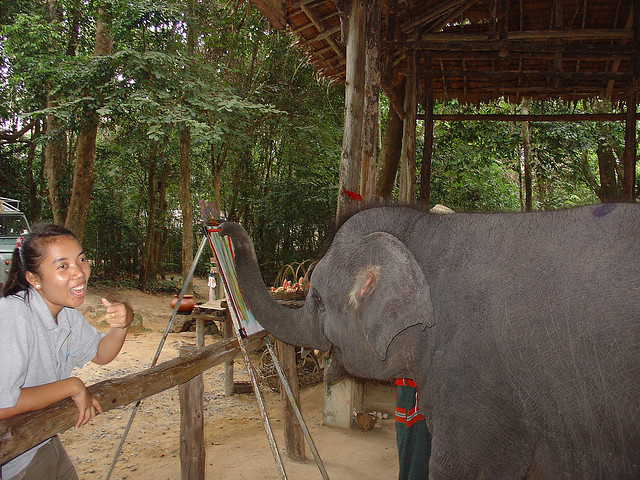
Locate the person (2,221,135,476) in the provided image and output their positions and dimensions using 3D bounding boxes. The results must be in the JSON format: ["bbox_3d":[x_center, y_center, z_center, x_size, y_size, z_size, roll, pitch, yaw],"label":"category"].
[{"bbox_3d":[-1.319,0.621,2.520,0.560,1.413,0.607,0,3,-33],"label":"person"}]

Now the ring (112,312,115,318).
[{"bbox_3d":[-1.113,0.404,2.594,0.009,0.026,0.010,2,2,0],"label":"ring"}]
